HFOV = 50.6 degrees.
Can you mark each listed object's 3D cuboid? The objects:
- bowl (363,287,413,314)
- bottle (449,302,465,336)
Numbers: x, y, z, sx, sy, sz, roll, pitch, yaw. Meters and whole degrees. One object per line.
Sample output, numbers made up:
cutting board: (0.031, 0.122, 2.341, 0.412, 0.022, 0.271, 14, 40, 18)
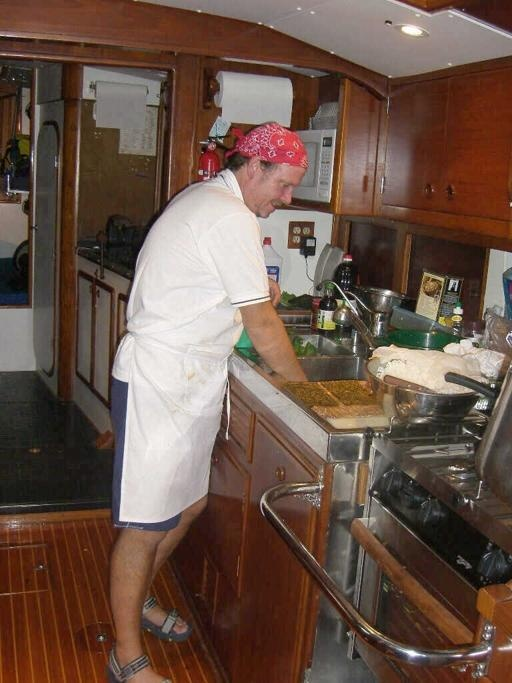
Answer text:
bowl: (0.491, -0.154, 2.021, 0.114, 0.048, 0.108, 14, 4, -1)
bottle: (0.650, -0.077, 1.745, 0.039, 0.095, 0.167, 10, 13, 19)
